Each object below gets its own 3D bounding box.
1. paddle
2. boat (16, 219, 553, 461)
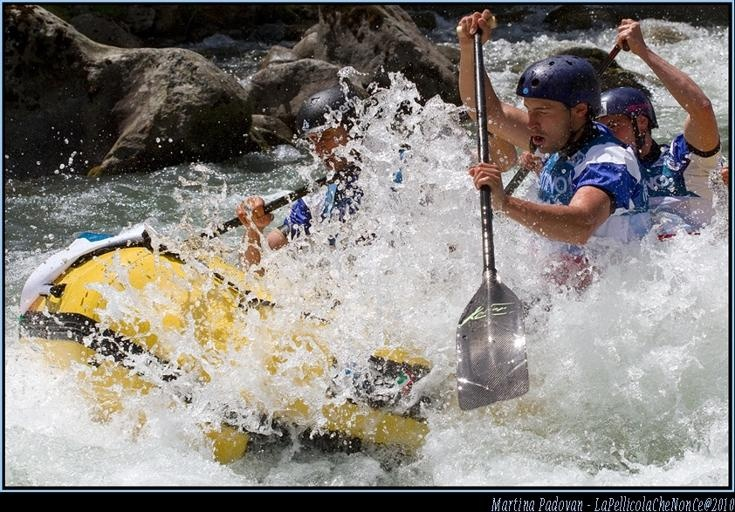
[{"bbox_3d":[0.879,-0.272,6.474,0.519,0.086,2.818,-20,53,35],"label":"paddle"},{"bbox_3d":[-0.875,0.469,6.576,2.952,1.069,1.611,20,5,-3],"label":"boat"}]
